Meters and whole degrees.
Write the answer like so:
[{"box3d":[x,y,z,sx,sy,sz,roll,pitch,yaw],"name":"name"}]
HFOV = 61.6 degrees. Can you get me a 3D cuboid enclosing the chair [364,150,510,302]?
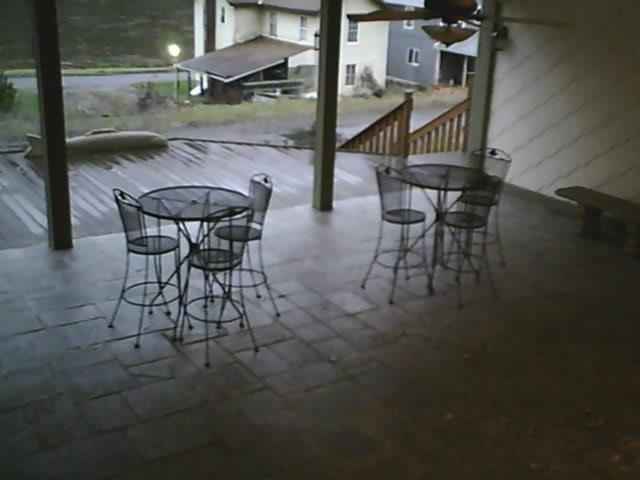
[{"box3d":[1.508,-0.154,6.156,1.865,1.439,1.849,-3,25,-4],"name":"chair"}]
